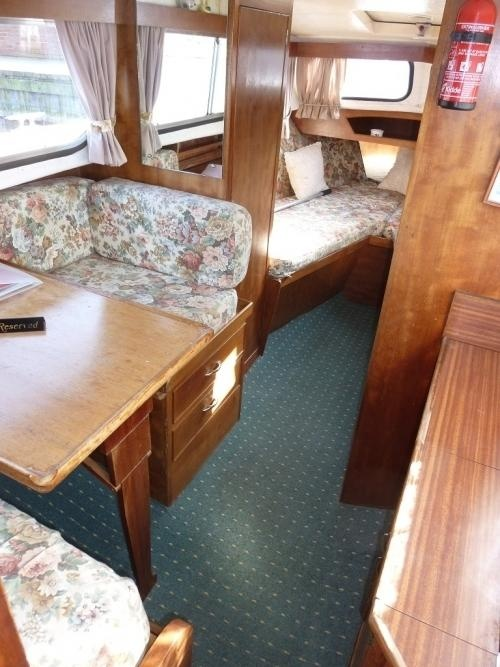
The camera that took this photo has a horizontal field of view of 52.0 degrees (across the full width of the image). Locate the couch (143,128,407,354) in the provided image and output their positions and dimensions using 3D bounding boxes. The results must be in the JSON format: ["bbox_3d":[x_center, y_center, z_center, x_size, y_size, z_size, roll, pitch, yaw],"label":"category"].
[{"bbox_3d":[0.135,-0.428,2.533,0.785,1.056,1.109,28,59,22],"label":"couch"}]

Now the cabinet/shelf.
[{"bbox_3d":[-0.188,0.288,1.744,0.289,0.433,0.471,20,46,16],"label":"cabinet/shelf"}]

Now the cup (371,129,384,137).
[{"bbox_3d":[0.997,-1.573,3.985,0.107,0.052,0.086,14,40,25],"label":"cup"}]

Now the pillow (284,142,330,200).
[{"bbox_3d":[0.391,-1.158,3.647,0.150,0.326,0.447,-27,-1,42],"label":"pillow"}]
